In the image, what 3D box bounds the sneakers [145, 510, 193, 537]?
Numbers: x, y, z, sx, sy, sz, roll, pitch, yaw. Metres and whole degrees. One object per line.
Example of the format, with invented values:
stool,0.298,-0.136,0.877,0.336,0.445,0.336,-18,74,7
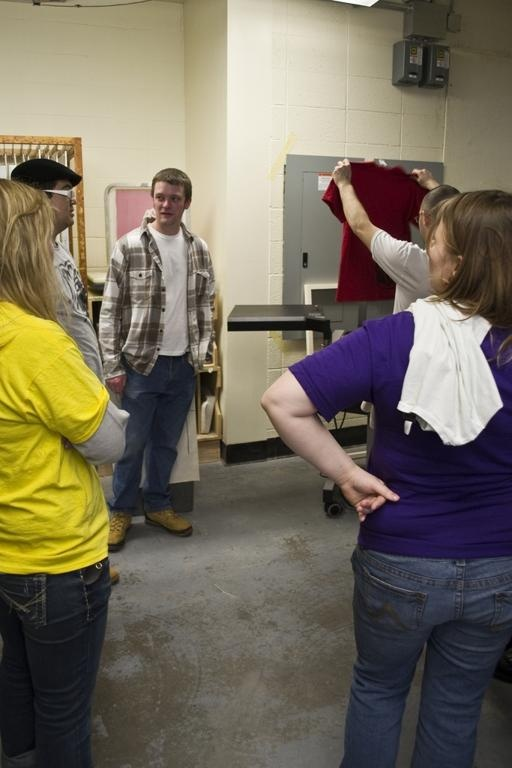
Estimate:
sneakers,-0.426,0.699,3.259,0.273,0.113,0.103,14,27,27
